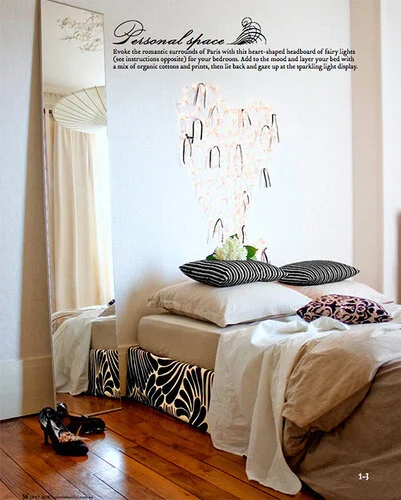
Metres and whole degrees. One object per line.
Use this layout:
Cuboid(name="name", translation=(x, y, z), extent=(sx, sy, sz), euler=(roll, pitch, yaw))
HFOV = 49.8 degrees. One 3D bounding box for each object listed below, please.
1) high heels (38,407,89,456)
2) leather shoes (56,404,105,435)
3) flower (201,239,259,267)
Cuboid(name="high heels", translation=(-0.577, 0.787, 1.898), extent=(0.110, 0.142, 0.320), euler=(-1, -5, -40))
Cuboid(name="leather shoes", translation=(-0.562, 0.822, 2.109), extent=(0.297, 0.113, 0.098), euler=(-11, -4, 23))
Cuboid(name="flower", translation=(0.179, 0.014, 2.652), extent=(0.182, 0.109, 0.213), euler=(-10, -7, 35))
